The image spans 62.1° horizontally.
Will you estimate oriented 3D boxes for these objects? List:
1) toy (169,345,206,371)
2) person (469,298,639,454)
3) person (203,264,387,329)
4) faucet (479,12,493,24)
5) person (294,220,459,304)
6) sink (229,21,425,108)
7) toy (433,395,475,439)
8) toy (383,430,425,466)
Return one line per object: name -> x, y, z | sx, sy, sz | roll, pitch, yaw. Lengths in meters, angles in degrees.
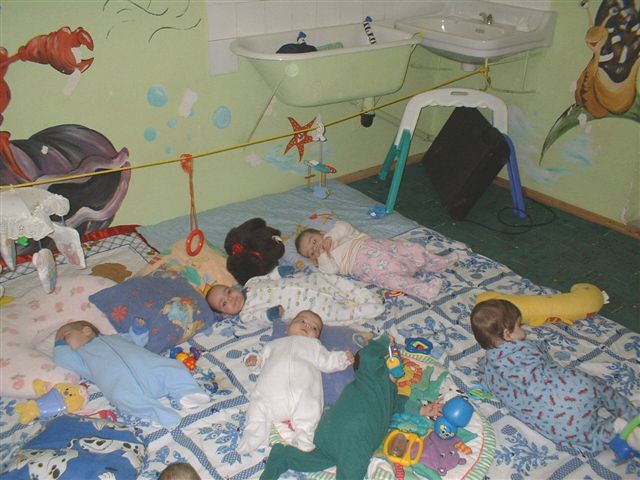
toy -> -0.684, 0.593, 2.713 | 0.120, 0.043, 0.120 | 26, 19, 25
person -> 1.115, 0.697, 2.624 | 0.868, 0.352, 0.408 | 33, 87, 35
person -> -0.206, 0.390, 3.032 | 0.885, 0.169, 0.385 | 7, 12, -2
faucet -> 1.275, -1.695, 4.093 | 0.102, 0.085, 0.122 | -14, 37, -2
person -> 0.330, 0.108, 3.300 | 1.011, 0.265, 0.400 | 13, 46, 11
sink -> 0.045, -1.177, 3.610 | 1.218, 0.447, 0.449 | -20, 39, -26
toy -> 0.652, 0.793, 2.470 | 0.162, 0.106, 0.257 | -19, -7, 4
toy -> 0.370, 0.921, 2.355 | 0.179, 0.071, 0.146 | 4, 34, 9
